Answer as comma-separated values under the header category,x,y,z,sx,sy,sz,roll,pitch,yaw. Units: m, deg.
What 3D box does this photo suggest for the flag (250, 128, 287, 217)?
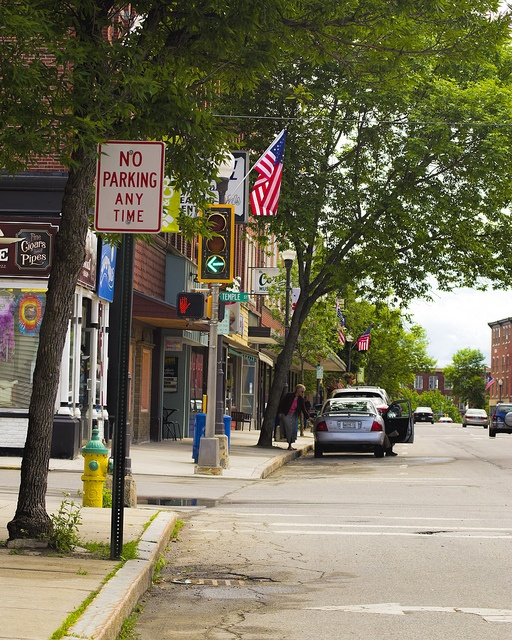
category,x,y,z,sx,sy,sz,roll,pitch,yaw
flag,0.292,-3.605,19.726,0.751,2.100,0.580,2,-7,-1

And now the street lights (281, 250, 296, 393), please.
category,x,y,z,sx,sy,sz,roll,pitch,yaw
street lights,1.038,-1.107,27.152,0.626,4.464,0.473,-1,-4,19

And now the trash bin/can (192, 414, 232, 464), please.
category,x,y,z,sx,sy,sz,roll,pitch,yaw
trash bin/can,-0.863,2.290,16.512,0.752,1.254,0.789,3,-4,-12

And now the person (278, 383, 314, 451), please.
category,x,y,z,sx,sy,sz,roll,pitch,yaw
person,1.042,2.872,24.419,0.744,2.025,0.705,-1,-3,7

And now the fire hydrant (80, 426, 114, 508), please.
category,x,y,z,sx,sy,sz,roll,pitch,yaw
fire hydrant,-1.593,1.443,8.040,0.330,0.752,0.392,3,-5,1

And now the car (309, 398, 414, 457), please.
category,x,y,z,sx,sy,sz,roll,pitch,yaw
car,3.012,2.907,21.652,2.657,1.608,3.468,-5,-11,39
